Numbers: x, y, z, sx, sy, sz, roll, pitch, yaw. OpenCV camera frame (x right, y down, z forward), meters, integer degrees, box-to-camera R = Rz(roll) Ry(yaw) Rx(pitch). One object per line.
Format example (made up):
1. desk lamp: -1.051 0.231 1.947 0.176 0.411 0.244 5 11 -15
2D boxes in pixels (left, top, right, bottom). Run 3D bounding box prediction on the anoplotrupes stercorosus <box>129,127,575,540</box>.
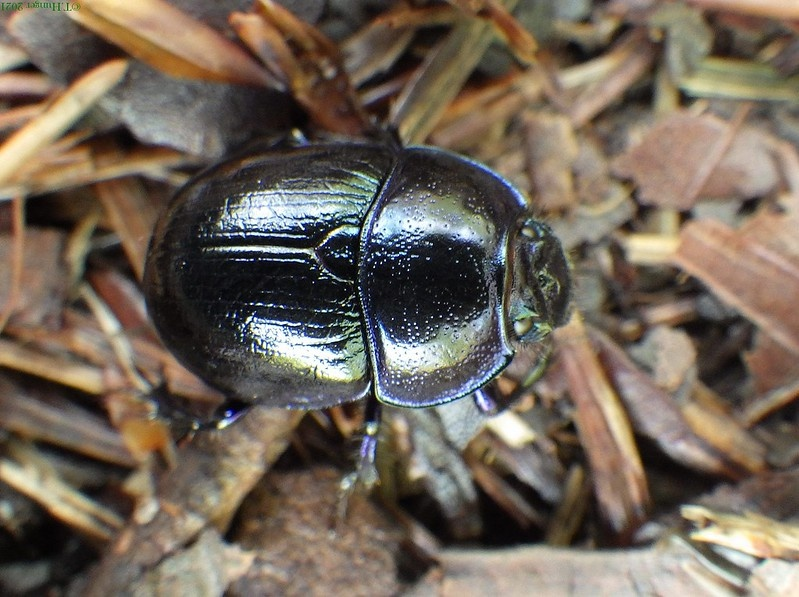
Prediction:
1. anoplotrupes stercorosus: -0.127 -0.061 2.454 1.129 0.271 0.733 -9 82 -1
